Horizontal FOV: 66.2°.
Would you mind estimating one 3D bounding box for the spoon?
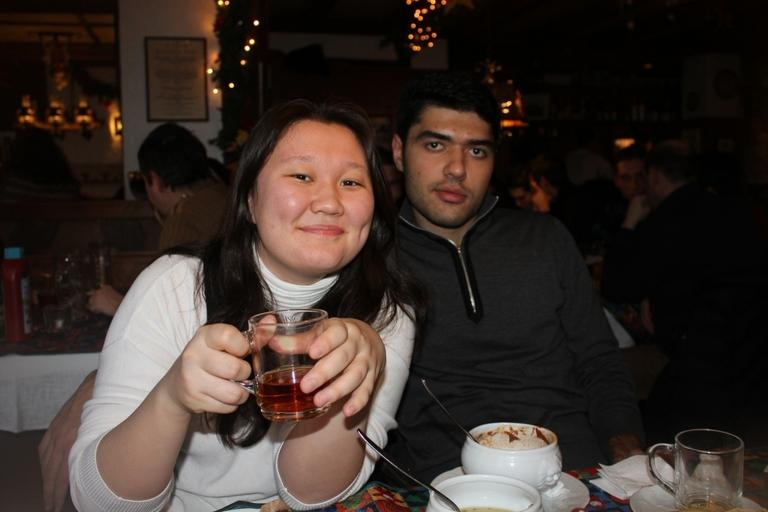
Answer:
[{"bbox_3d":[0.101,0.817,2.242,0.069,0.574,0.079,-47,4,16],"label":"spoon"}]

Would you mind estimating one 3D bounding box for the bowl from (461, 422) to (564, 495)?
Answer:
[{"bbox_3d":[0.434,0.665,1.969,0.261,0.160,0.251,0,-6,0],"label":"bowl"}]

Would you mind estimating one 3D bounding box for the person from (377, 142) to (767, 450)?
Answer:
[{"bbox_3d":[0.973,0.232,3.529,1.620,0.725,2.046,0,20,-7],"label":"person"}]
